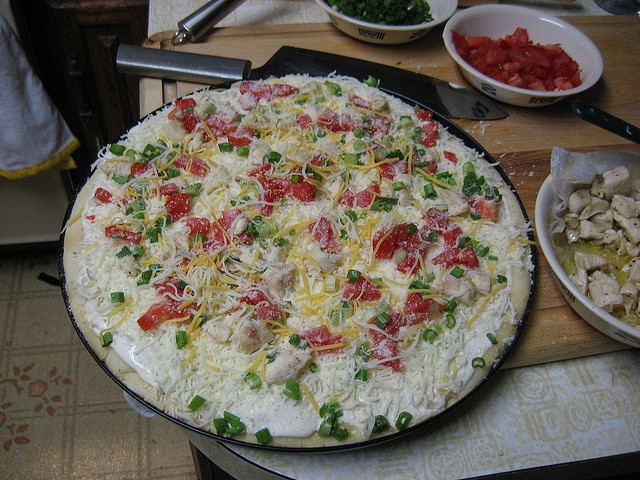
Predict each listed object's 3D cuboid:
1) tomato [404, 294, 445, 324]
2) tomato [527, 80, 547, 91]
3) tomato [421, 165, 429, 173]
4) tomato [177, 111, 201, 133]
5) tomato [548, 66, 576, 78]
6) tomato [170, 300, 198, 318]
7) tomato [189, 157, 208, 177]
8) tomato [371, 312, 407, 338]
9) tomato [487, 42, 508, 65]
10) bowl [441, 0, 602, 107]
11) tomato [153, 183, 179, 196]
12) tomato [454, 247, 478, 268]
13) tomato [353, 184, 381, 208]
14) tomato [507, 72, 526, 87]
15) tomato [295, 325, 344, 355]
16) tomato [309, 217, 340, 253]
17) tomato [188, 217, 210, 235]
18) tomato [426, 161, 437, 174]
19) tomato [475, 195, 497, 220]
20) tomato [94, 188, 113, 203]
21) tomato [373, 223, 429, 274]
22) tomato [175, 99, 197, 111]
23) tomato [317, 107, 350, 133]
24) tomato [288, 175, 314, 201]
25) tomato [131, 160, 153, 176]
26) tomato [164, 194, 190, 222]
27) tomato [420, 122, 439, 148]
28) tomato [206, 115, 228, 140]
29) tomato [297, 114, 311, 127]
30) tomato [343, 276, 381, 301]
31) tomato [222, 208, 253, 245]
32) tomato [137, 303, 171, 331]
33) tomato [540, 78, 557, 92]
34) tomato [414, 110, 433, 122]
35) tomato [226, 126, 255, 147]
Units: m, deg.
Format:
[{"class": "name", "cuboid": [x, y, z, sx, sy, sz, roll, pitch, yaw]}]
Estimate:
[{"class": "tomato", "cuboid": [0.377, 0.259, 2.232, 0.117, 0.054, 0.100, -12, 58, -8]}, {"class": "tomato", "cuboid": [1.028, -0.734, 2.754, 0.092, 0.022, 0.057, 24, 60, 14]}, {"class": "tomato", "cuboid": [0.451, -0.307, 2.501, 0.024, 0.020, 0.027, -20, 59, -13]}, {"class": "tomato", "cuboid": [-0.563, -0.521, 2.524, 0.071, 0.056, 0.078, 35, 63, 21]}, {"class": "tomato", "cuboid": [1.157, -0.806, 2.778, 0.117, 0.048, 0.041, 20, 59, 12]}, {"class": "tomato", "cuboid": [-0.518, 0.264, 2.213, 0.102, 0.028, 0.060, 1, 57, 0]}, {"class": "tomato", "cuboid": [-0.509, -0.308, 2.450, 0.064, 0.033, 0.073, 19, 59, 12]}, {"class": "tomato", "cuboid": [0.286, 0.321, 2.211, 0.073, 0.029, 0.094, 25, 60, 15]}, {"class": "tomato", "cuboid": [0.859, -0.899, 2.819, 0.095, 0.037, 0.141, 18, 59, 11]}, {"class": "bowl", "cuboid": [0.969, -0.896, 2.831, 0.622, 0.167, 0.619, 2, 59, -3]}, {"class": "tomato", "cuboid": [-0.622, -0.208, 2.388, 0.071, 0.025, 0.042, -13, 58, -9]}, {"class": "tomato", "cuboid": [0.578, 0.080, 2.310, 0.084, 0.041, 0.067, -25, 60, -16]}, {"class": "tomato", "cuboid": [0.197, -0.180, 2.402, 0.115, 0.043, 0.065, -21, 59, -14]}, {"class": "tomato", "cuboid": [0.928, -0.776, 2.769, 0.072, 0.035, 0.101, 5, 57, 2]}, {"class": "tomato", "cuboid": [-0.003, 0.369, 2.188, 0.119, 0.035, 0.118, -32, 69, -16]}, {"class": "tomato", "cuboid": [0.021, -0.014, 2.315, 0.088, 0.033, 0.144, -19, 82, -13]}, {"class": "tomato", "cuboid": [-0.487, -0.057, 2.341, 0.083, 0.037, 0.061, -7, 57, -5]}, {"class": "tomato", "cuboid": [0.482, -0.315, 2.501, 0.043, 0.012, 0.043, 4, 80, -11]}, {"class": "tomato", "cuboid": [0.684, -0.129, 2.413, 0.086, 0.048, 0.076, 3, 57, 2]}, {"class": "tomato", "cuboid": [-0.887, -0.185, 2.394, 0.073, 0.025, 0.055, 9, 57, 5]}, {"class": "tomato", "cuboid": [0.332, 0.025, 2.315, 0.161, 0.085, 0.197, 29, 61, 17]}, {"class": "tomato", "cuboid": [-0.598, -0.607, 2.572, 0.059, 0.019, 0.063, 33, 61, 17]}, {"class": "tomato", "cuboid": [0.062, -0.529, 2.580, 0.147, 0.050, 0.083, 11, 57, 6]}, {"class": "tomato", "cuboid": [-0.075, -0.206, 2.397, 0.106, 0.040, 0.078, 40, 65, 22]}, {"class": "tomato", "cuboid": [-0.743, -0.300, 2.418, 0.089, 0.040, 0.055, -10, 57, -7]}, {"class": "tomato", "cuboid": [-0.573, -0.135, 2.368, 0.102, 0.047, 0.090, -22, 60, -14]}, {"class": "tomato", "cuboid": [0.479, -0.469, 2.567, 0.068, 0.056, 0.108, 11, 57, 7]}, {"class": "tomato", "cuboid": [-0.444, -0.491, 2.528, 0.085, 0.024, 0.090, 40, 70, 3]}, {"class": "tomato", "cuboid": [-0.072, -0.529, 2.567, 0.059, 0.020, 0.064, 1, 57, 0]}, {"class": "tomato", "cuboid": [0.162, 0.187, 2.258, 0.140, 0.037, 0.081, 3, 57, 1]}, {"class": "tomato", "cuboid": [-0.333, -0.052, 2.326, 0.077, 0.066, 0.163, -21, 60, -14]}, {"class": "tomato", "cuboid": [-0.625, 0.284, 2.211, 0.136, 0.033, 0.064, -35, 64, -21]}, {"class": "tomato", "cuboid": [1.086, -0.744, 2.769, 0.062, 0.021, 0.064, -8, 58, 1]}, {"class": "tomato", "cuboid": [0.460, -0.563, 2.612, 0.081, 0.030, 0.038, 15, 58, 9]}, {"class": "tomato", "cuboid": [-0.348, -0.449, 2.507, 0.127, 0.048, 0.080, 14, 58, 8]}]
